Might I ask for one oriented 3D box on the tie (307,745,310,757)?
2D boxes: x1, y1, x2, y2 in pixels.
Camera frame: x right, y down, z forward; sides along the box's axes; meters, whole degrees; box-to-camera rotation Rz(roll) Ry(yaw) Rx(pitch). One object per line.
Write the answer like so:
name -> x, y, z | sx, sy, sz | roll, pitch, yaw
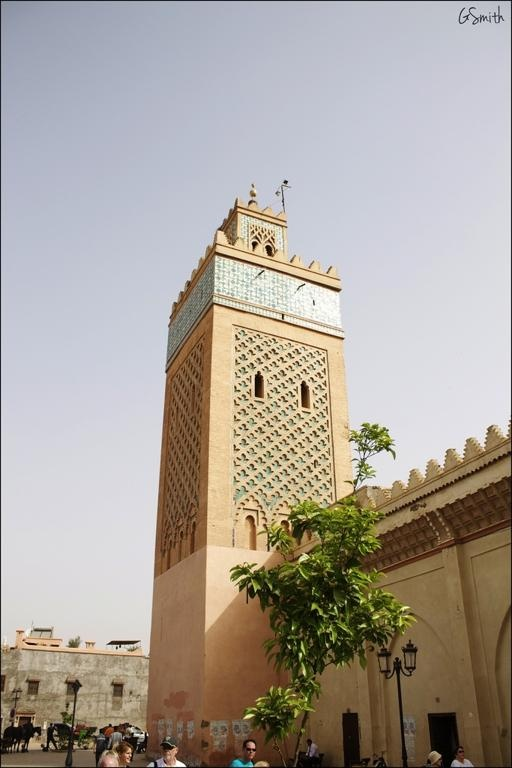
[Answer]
tie -> 0.718, 4.934, 8.528 | 0.031, 0.119, 0.083 | -4, -9, 6
